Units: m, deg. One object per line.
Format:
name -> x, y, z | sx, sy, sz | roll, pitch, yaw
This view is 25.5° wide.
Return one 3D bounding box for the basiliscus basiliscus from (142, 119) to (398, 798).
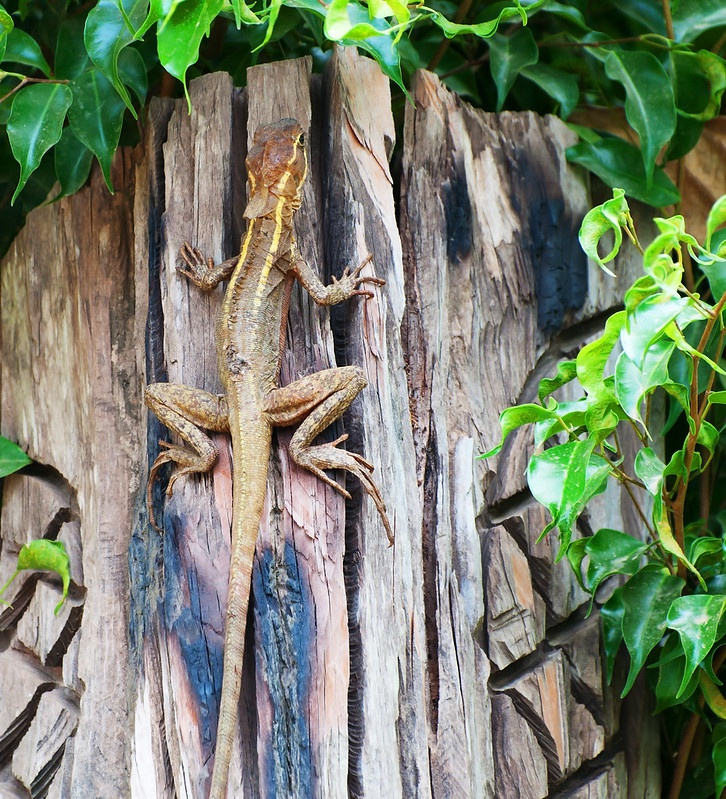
basiliscus basiliscus -> -0.243, -0.057, 3.828 | 0.414, 0.211, 2.020 | 1, 85, 28
